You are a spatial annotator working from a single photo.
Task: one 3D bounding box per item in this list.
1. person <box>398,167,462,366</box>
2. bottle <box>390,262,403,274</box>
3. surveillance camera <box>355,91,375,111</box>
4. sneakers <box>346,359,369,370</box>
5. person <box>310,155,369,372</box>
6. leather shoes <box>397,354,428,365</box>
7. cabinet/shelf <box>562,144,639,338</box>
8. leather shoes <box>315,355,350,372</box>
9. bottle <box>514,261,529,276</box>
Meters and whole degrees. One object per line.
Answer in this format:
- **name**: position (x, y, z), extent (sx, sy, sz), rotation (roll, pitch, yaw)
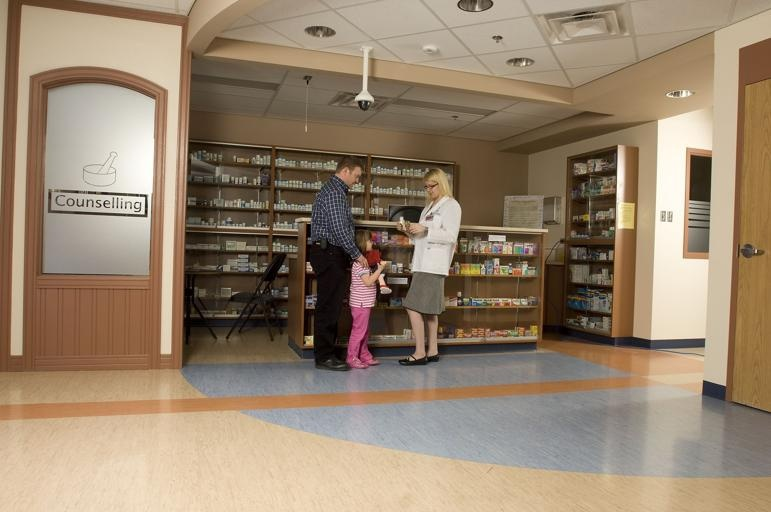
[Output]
- **person**: position (0.526, 0.143, 6.741), extent (0.674, 2.426, 0.678), rotation (3, 8, 1)
- **bottle**: position (0.134, 0.154, 7.024), extent (0.184, 0.137, 0.088), rotation (2, 6, -10)
- **surveillance camera**: position (-0.249, -1.896, 6.638), extent (0.178, 0.185, 0.286), rotation (3, 8, 3)
- **sneakers**: position (-0.336, 1.302, 6.511), extent (0.303, 0.100, 0.099), rotation (1, -3, -11)
- **person**: position (-0.584, 0.087, 6.358), extent (0.588, 2.486, 0.430), rotation (2, 8, -7)
- **leather shoes**: position (0.348, 1.281, 6.716), extent (0.297, 0.082, 0.133), rotation (2, -4, -7)
- **cabinet/shelf**: position (3.534, -0.235, 8.933), extent (0.611, 3.076, 1.334), rotation (0, 9, -17)
- **leather shoes**: position (-0.618, 1.277, 6.390), extent (0.363, 0.116, 0.167), rotation (-1, -4, 9)
- **bottle**: position (1.914, 0.174, 7.570), extent (0.241, 0.279, 0.212), rotation (1, 1, 5)
